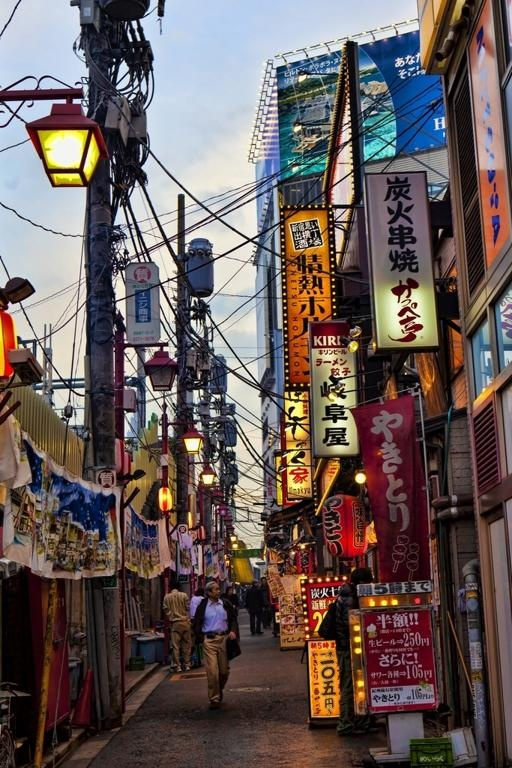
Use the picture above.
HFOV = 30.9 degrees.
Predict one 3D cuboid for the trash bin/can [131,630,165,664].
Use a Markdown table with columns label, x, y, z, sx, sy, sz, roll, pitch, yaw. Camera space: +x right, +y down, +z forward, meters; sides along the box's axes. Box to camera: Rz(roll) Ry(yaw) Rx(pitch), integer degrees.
| label | x | y | z | sx | sy | sz | roll | pitch | yaw |
| --- | --- | --- | --- | --- | --- | --- | --- | --- | --- |
| trash bin/can | -2.552 | 6.225 | 21.842 | 0.689 | 0.735 | 0.759 | 1 | -10 | -10 |

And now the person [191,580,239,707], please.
| label | x | y | z | sx | sy | sz | roll | pitch | yaw |
| --- | --- | --- | --- | --- | --- | --- | --- | --- | --- |
| person | -0.627 | 4.018 | 14.385 | 0.648 | 1.905 | 0.656 | -3 | 3 | -25 |

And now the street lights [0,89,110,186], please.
| label | x | y | z | sx | sy | sz | roll | pitch | yaw |
| --- | --- | --- | --- | --- | --- | --- | --- | --- | --- |
| street lights | -1.693 | -2.022 | 7.814 | 0.732 | 1.127 | 0.550 | -4 | -13 | 0 |

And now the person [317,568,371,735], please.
| label | x | y | z | sx | sy | sz | roll | pitch | yaw |
| --- | --- | --- | --- | --- | --- | --- | --- | --- | --- |
| person | 1.084 | 3.212 | 11.182 | 0.659 | 1.905 | 0.707 | -4 | -13 | 2 |
